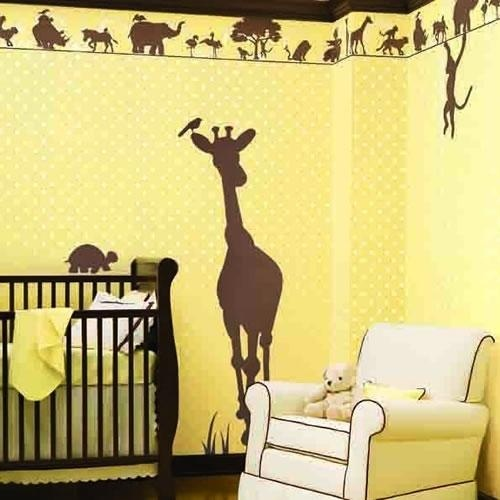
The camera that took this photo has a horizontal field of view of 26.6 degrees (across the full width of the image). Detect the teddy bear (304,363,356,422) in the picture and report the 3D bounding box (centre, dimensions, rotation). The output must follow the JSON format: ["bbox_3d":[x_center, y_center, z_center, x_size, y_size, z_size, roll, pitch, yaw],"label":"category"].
[{"bbox_3d":[0.382,0.660,4.953,0.211,0.310,0.216,13,-11,-38],"label":"teddy bear"}]

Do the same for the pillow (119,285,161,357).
[{"bbox_3d":[-0.525,0.358,5.226,0.214,0.278,0.071,-12,-23,36],"label":"pillow"}]

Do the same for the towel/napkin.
[{"bbox_3d":[-0.936,0.489,4.806,0.320,0.511,0.120,-1,-6,-8],"label":"towel/napkin"}]
